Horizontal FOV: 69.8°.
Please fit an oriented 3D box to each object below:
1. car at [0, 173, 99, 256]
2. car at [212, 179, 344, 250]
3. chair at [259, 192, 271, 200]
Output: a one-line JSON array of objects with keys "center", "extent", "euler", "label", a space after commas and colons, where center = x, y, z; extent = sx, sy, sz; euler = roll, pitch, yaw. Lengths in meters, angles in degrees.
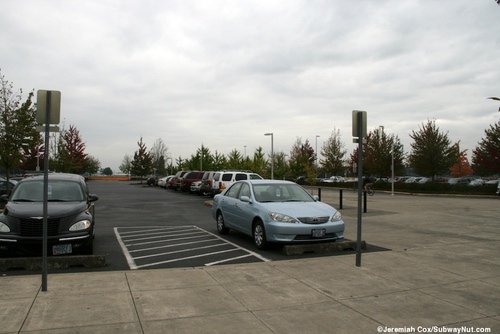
[{"center": [-5.457, 1.219, 10.219], "extent": [1.730, 1.325, 3.009], "euler": [1, -6, -15], "label": "car"}, {"center": [0.736, 1.372, 11.145], "extent": [1.972, 1.865, 3.936], "euler": [-1, 2, -39], "label": "car"}, {"center": [0.474, 0.880, 10.978], "extent": [0.244, 0.237, 0.243], "euler": [0, -11, -17], "label": "chair"}]
